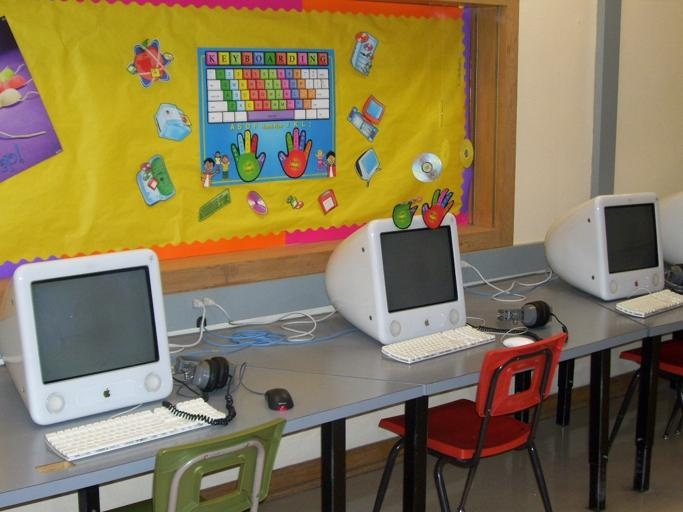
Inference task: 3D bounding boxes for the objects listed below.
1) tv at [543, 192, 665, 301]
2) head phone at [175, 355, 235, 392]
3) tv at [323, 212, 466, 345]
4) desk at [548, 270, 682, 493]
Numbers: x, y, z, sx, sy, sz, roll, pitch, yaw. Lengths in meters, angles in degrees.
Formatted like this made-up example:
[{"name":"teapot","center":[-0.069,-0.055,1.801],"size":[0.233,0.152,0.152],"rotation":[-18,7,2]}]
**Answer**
[{"name":"tv","center":[1.381,-0.072,3.089],"size":[0.522,0.580,0.521],"rotation":[-15,12,-33]},{"name":"head phone","center":[-0.503,0.389,1.993],"size":[0.229,0.096,0.189],"rotation":[15,3,41]},{"name":"tv","center":[0.225,0.092,2.552],"size":[0.519,0.524,0.503],"rotation":[-8,4,-42]},{"name":"desk","center":[1.373,0.638,2.852],"size":[0.587,0.768,0.773],"rotation":[-12,20,-30]}]
